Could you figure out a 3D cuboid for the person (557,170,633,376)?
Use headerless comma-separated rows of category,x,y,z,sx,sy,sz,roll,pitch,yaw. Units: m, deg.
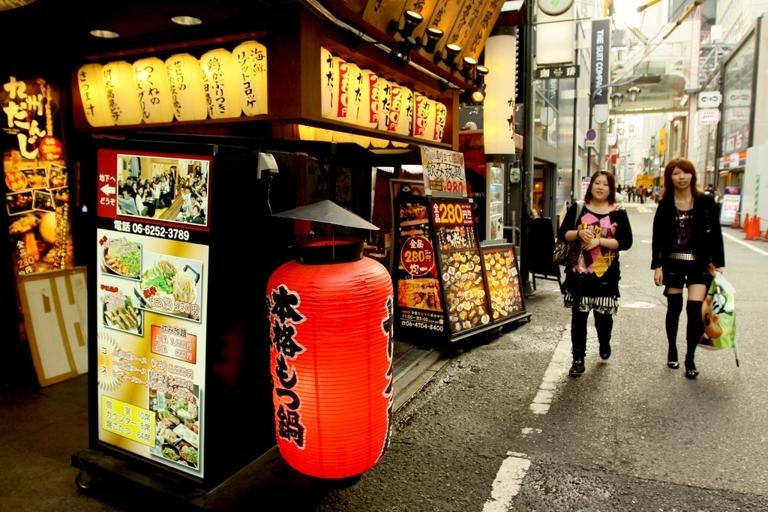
person,2.890,0.195,7.923,1.018,2.606,1.174,1,2,17

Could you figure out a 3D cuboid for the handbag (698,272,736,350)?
handbag,4.383,0.743,7.339,0.393,1.031,0.340,4,15,29

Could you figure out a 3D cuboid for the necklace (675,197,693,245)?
necklace,3.934,-0.346,7.395,0.228,0.625,0.075,9,27,36

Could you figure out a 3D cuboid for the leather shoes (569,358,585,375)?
leather shoes,2.614,1.501,7.564,0.119,0.221,0.318,0,-3,33

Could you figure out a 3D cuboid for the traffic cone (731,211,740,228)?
traffic cone,15.953,-1.659,25.404,0.311,0.638,0.719,5,15,32

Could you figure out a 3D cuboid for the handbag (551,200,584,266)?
handbag,2.470,-0.297,7.788,0.424,0.844,0.455,2,-18,-5
